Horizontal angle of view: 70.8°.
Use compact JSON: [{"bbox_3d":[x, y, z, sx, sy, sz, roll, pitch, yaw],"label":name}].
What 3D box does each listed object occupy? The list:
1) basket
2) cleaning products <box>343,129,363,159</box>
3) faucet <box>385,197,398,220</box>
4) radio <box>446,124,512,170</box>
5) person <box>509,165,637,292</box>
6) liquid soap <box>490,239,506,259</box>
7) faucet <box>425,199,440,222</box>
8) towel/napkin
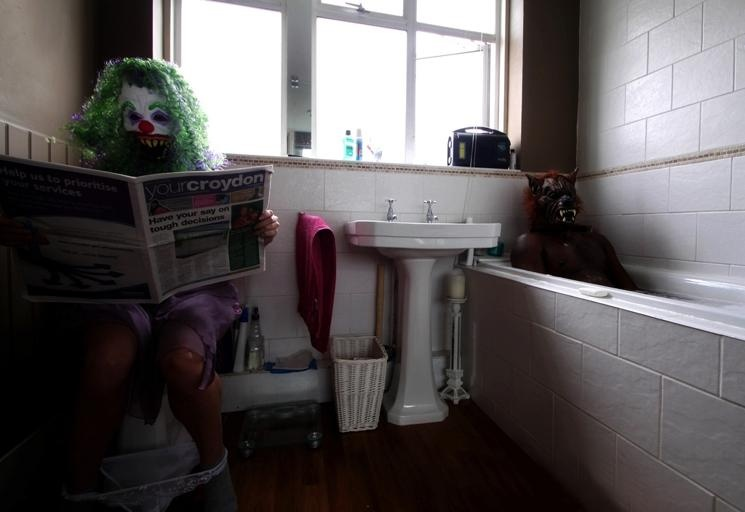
[{"bbox_3d":[-0.056,0.600,2.552,0.278,0.345,0.370,-2,13,-2],"label":"basket"},{"bbox_3d":[-0.113,-0.616,2.896,0.111,0.157,0.078,2,13,14],"label":"cleaning products"},{"bbox_3d":[0.096,-0.238,2.725,0.055,0.109,0.153,-1,13,2],"label":"faucet"},{"bbox_3d":[0.592,-0.586,2.914,0.339,0.254,0.237,1,14,0],"label":"radio"},{"bbox_3d":[0.975,-0.048,2.558,0.518,0.819,0.455,-5,-6,-2],"label":"person"},{"bbox_3d":[0.690,-0.027,2.887,0.100,0.101,0.062,-3,10,-22],"label":"liquid soap"},{"bbox_3d":[0.307,-0.235,2.773,0.074,0.118,0.181,0,13,6],"label":"faucet"},{"bbox_3d":[-0.284,0.121,2.602,0.194,0.635,0.324,-3,13,-10],"label":"towel/napkin"}]
